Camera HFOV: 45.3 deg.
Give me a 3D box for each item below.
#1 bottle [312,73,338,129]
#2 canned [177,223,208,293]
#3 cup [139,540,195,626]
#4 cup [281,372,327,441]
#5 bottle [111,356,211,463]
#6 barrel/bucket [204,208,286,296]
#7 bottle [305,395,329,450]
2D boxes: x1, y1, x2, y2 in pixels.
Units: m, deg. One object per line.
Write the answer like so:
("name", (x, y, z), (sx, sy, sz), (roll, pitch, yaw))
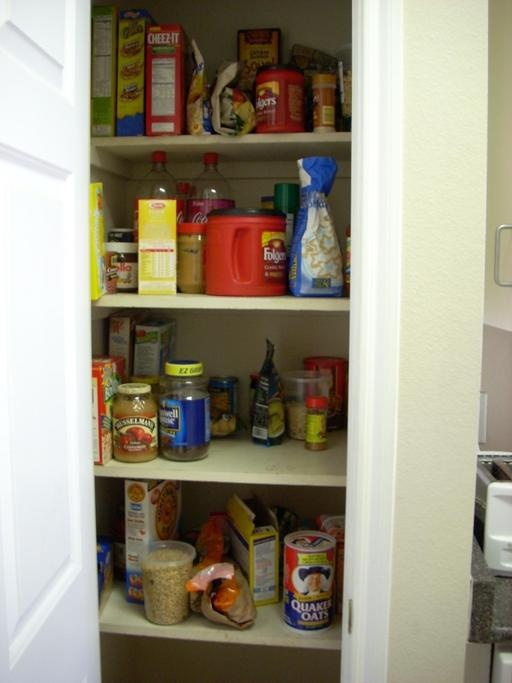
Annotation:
("bottle", (0.148, -0.514, 1.331), (0.055, 0.125, 0.045), (-2, 3, 10))
("canned", (-0.141, -0.181, 1.332), (0.065, 0.149, 0.045), (-3, 3, -5))
("cup", (-0.169, 0.519, 1.326), (0.128, 0.141, 0.129), (0, -4, 0))
("cup", (0.108, 0.153, 1.486), (0.143, 0.163, 0.145), (0, 1, 0))
("bottle", (-0.159, 0.153, 1.317), (0.265, 0.259, 0.141), (-1, 3, 5))
("barrel/bucket", (-0.023, -0.191, 1.333), (0.160, 0.162, 0.172), (0, 0, 0))
("bottle", (0.138, 0.183, 1.426), (0.051, 0.122, 0.106), (-2, 3, 4))
